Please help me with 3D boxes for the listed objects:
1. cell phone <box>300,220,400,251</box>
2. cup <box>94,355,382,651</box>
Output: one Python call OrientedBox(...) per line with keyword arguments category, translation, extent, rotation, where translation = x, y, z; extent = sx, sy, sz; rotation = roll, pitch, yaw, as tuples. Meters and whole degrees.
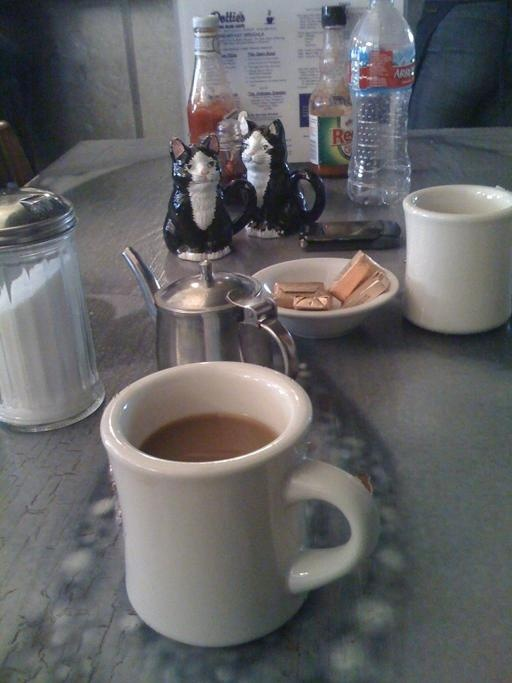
OrientedBox(category="cell phone", translation=(0.138, -0.153, 0.794), extent=(0.116, 0.027, 0.060), rotation=(-1, 29, 6))
OrientedBox(category="cup", translation=(0.003, 0.077, 0.250), extent=(0.123, 0.100, 0.082), rotation=(10, 31, 23))
